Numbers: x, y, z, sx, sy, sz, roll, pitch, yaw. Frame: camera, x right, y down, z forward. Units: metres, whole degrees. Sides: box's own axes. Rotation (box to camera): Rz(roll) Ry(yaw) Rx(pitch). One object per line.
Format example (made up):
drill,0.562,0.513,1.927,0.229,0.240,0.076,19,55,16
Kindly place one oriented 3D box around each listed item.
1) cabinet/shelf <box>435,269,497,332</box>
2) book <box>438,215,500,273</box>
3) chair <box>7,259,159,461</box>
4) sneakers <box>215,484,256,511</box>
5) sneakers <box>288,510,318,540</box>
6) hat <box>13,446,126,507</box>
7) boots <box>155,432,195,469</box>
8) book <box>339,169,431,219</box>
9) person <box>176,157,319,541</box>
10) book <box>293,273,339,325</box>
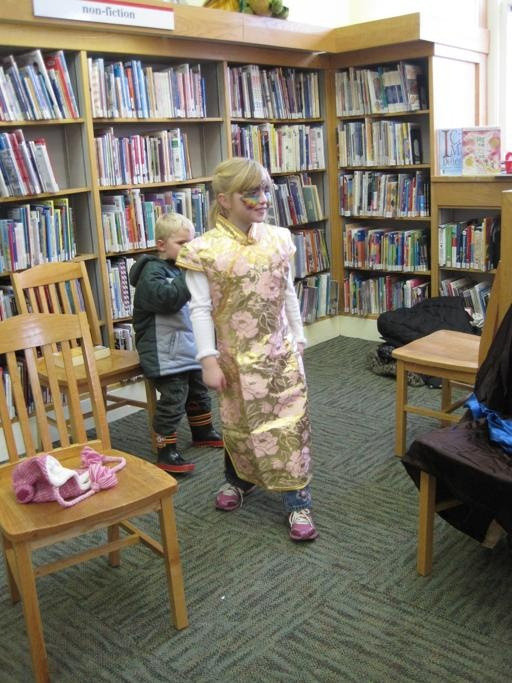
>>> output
cabinet/shelf,1.514,-0.347,3.871,0.493,0.157,0.478,17,22,28
book,1.443,-0.697,3.929,0.522,0.362,0.529,1,11,20
chair,-0.899,0.104,2.386,0.530,0.767,0.467,-20,3,37
sneakers,-0.104,0.597,2.098,0.068,0.051,0.128,-1,0,16
sneakers,0.164,0.625,1.838,0.059,0.054,0.130,-1,-7,1
hat,-0.450,0.304,1.363,0.222,0.104,0.296,-3,8,6
boots,-0.340,0.488,2.479,0.219,0.190,0.108,2,8,10
book,0.986,-1.104,4.092,0.479,0.229,0.245,5,7,30
person,0.024,0.017,1.771,0.476,1.166,0.407,8,16,35
book,0.448,-0.334,4.109,0.292,0.367,0.412,5,24,38
